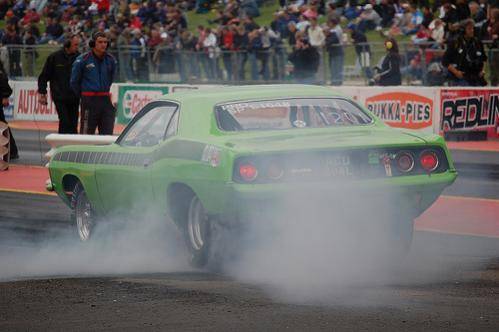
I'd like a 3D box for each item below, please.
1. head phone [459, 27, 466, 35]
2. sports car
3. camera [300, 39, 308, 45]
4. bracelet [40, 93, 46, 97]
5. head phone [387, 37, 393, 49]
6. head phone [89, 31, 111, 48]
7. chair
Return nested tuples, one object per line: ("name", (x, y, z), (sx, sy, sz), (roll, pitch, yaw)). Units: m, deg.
("head phone", (4.623, -2.896, 15.092), (0.079, 0.111, 0.117), (3, 29, -9))
("sports car", (-0.080, 0.145, 7.826), (4.536, 1.876, 1.599), (3, 11, 21))
("camera", (1.466, -3.203, 18.172), (0.237, 0.127, 0.065), (-11, 14, -41))
("bracelet", (-3.687, -1.266, 12.510), (0.062, 0.050, 0.080), (0, -6, -9))
("head phone", (3.383, -2.894, 16.815), (0.095, 0.130, 0.171), (-9, 5, -10))
("head phone", (-2.488, -2.058, 11.484), (0.286, 0.258, 0.397), (-4, 11, -13))
("chair", (3.490, -2.553, 17.748), (2.118, 0.795, 0.435), (8, 13, 38))
